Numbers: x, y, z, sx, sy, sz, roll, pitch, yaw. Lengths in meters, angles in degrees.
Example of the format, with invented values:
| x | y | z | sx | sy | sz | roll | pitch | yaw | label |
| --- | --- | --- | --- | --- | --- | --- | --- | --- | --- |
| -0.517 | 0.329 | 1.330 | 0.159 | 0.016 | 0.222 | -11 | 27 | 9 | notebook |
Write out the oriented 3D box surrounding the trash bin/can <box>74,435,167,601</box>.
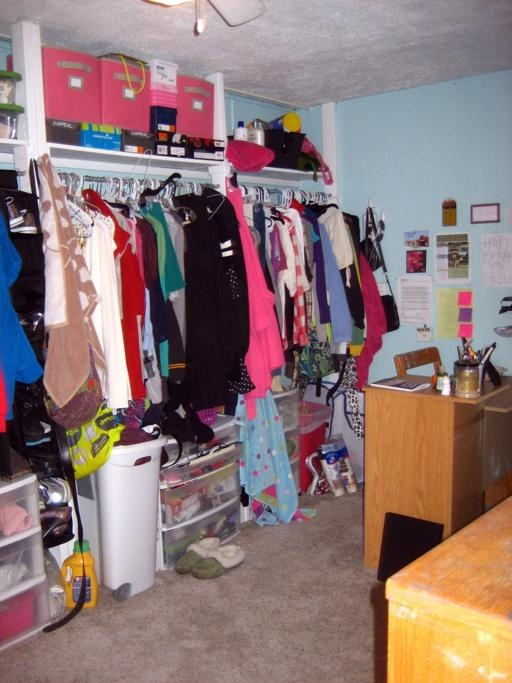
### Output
| x | y | z | sx | sy | sz | roll | pitch | yaw | label |
| --- | --- | --- | --- | --- | --- | --- | --- | --- | --- |
| -0.624 | 0.804 | 2.420 | 0.441 | 0.675 | 0.422 | -11 | -11 | 0 | trash bin/can |

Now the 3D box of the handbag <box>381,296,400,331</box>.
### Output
| x | y | z | sx | sy | sz | roll | pitch | yaw | label |
| --- | --- | --- | --- | --- | --- | --- | --- | --- | --- |
| 0.866 | -0.175 | 3.504 | 0.079 | 0.191 | 0.146 | -14 | 27 | 10 | handbag |

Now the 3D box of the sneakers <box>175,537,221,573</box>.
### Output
| x | y | z | sx | sy | sz | roll | pitch | yaw | label |
| --- | --- | --- | --- | --- | --- | --- | --- | --- | --- |
| -0.275 | 0.995 | 2.539 | 0.079 | 0.083 | 0.228 | 6 | 15 | 32 | sneakers |

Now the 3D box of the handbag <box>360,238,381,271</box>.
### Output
| x | y | z | sx | sy | sz | roll | pitch | yaw | label |
| --- | --- | --- | --- | --- | --- | --- | --- | --- | --- |
| 0.774 | -0.581 | 3.627 | 0.059 | 0.201 | 0.150 | -11 | 8 | 42 | handbag |

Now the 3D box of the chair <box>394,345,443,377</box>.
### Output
| x | y | z | sx | sy | sz | roll | pitch | yaw | label |
| --- | --- | --- | --- | --- | --- | --- | --- | --- | --- |
| 0.926 | 0.113 | 3.039 | 0.158 | 0.273 | 0.155 | -8 | 10 | -31 | chair |

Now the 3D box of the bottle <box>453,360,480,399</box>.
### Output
| x | y | z | sx | sy | sz | roll | pitch | yaw | label |
| --- | --- | --- | --- | --- | --- | --- | --- | --- | --- |
| 0.883 | 0.151 | 2.257 | 0.105 | 0.143 | 0.213 | 1 | 6 | 21 | bottle |

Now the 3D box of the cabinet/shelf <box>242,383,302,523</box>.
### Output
| x | y | z | sx | sy | sz | roll | pitch | yaw | label |
| --- | --- | --- | --- | --- | --- | --- | --- | --- | --- |
| 0.030 | 0.575 | 3.003 | 0.248 | 0.821 | 0.350 | -20 | 21 | -37 | cabinet/shelf |

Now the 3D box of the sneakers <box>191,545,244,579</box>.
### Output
| x | y | z | sx | sy | sz | roll | pitch | yaw | label |
| --- | --- | --- | --- | --- | --- | --- | --- | --- | --- |
| -0.176 | 1.027 | 2.527 | 0.132 | 0.067 | 0.275 | 5 | 8 | 44 | sneakers |

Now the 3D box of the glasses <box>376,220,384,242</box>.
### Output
| x | y | z | sx | sy | sz | roll | pitch | yaw | label |
| --- | --- | --- | --- | --- | --- | --- | --- | --- | --- |
| 0.835 | -0.735 | 3.618 | 0.043 | 0.118 | 0.086 | 3 | 4 | -6 | glasses |
